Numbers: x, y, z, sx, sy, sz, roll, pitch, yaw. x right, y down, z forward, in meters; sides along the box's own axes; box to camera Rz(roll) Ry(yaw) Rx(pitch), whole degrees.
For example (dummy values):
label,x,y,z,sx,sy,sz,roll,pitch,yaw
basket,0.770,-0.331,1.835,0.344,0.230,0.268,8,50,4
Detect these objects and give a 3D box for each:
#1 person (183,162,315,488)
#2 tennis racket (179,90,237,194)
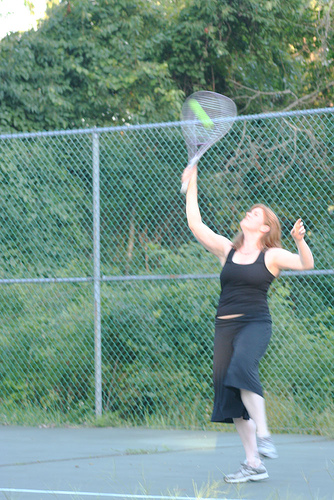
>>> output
label,x,y,z,sx,sy,sz,roll,pitch,yaw
person,0.521,0.495,4.575,0.692,1.670,0.729,-3,3,-2
tennis racket,0.258,-0.778,5.197,0.324,0.763,0.327,3,1,16
